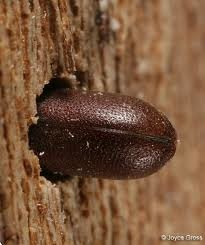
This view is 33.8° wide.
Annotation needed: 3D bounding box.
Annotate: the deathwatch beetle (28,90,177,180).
[{"bbox_3d":[0.009,0.046,0.999,0.431,0.188,0.203,4,-15,3],"label":"deathwatch beetle"}]
